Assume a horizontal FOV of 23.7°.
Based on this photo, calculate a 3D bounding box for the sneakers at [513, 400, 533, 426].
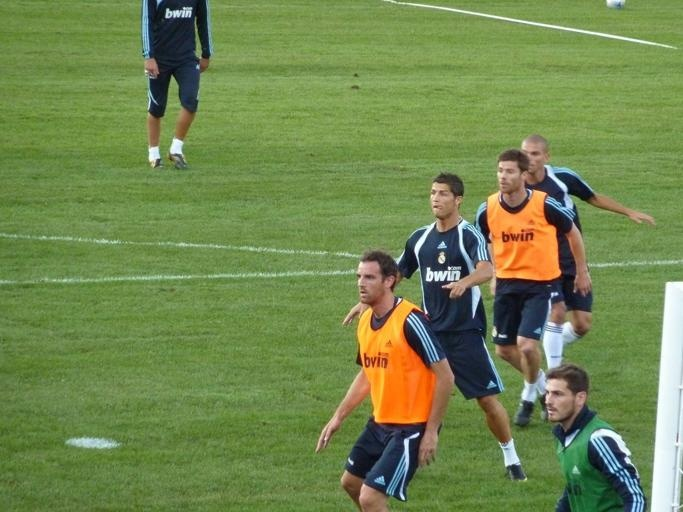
[{"bbox_3d":[2.359,2.020,20.825,0.157,0.189,0.439,7,20,18],"label":"sneakers"}]

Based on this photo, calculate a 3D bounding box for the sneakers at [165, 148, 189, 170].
[{"bbox_3d":[-2.635,-1.573,26.335,0.191,0.399,0.193,-42,-5,-45],"label":"sneakers"}]
